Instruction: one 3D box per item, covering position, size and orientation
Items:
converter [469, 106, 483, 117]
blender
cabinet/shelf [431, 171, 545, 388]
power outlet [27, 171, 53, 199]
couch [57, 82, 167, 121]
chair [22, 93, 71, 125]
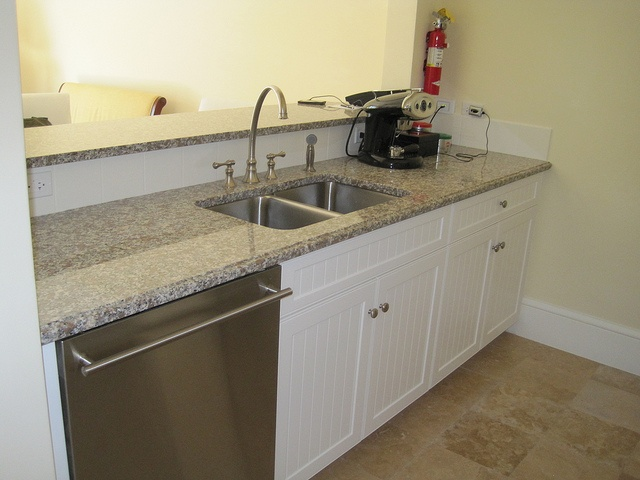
[{"bbox_3d":[0.947,-0.784,3.063,0.094,0.060,0.050,9,24,13],"label":"converter"},{"bbox_3d":[0.371,-0.598,2.670,0.372,0.429,0.426,-24,36,-35],"label":"blender"},{"bbox_3d":[0.854,0.197,2.599,0.422,0.831,0.837,22,36,39],"label":"cabinet/shelf"},{"bbox_3d":[-0.923,-0.181,1.664,0.020,0.086,0.076,9,11,41],"label":"power outlet"},{"bbox_3d":[-2.187,-1.381,5.229,1.558,0.382,0.377,20,28,33],"label":"couch"},{"bbox_3d":[-2.093,-1.010,3.866,0.278,0.242,0.364,-5,25,-17],"label":"chair"}]
